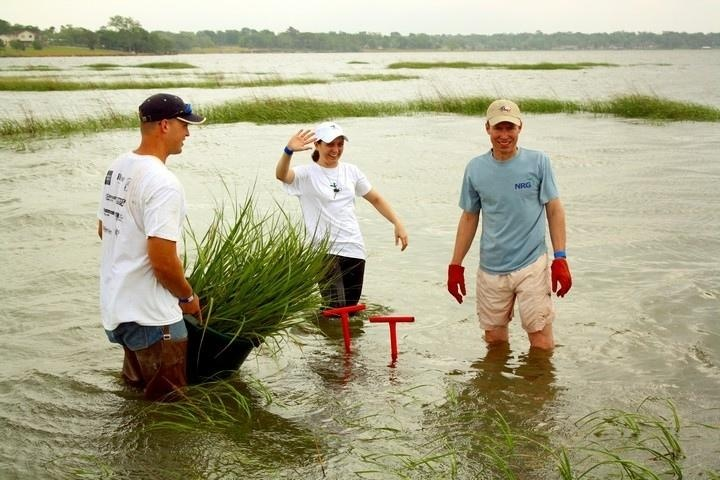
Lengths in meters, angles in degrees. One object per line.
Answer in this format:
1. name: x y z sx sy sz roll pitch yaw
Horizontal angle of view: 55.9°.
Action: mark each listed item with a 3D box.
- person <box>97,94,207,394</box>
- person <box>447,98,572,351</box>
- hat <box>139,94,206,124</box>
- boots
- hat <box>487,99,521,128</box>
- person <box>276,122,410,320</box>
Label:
1. person: -2.073 0.091 6.591 1.017 2.908 0.725 -9 17 -10
2. person: 1.708 0.135 7.727 1.310 2.368 0.578 -1 17 14
3. hat: -1.810 -1.239 6.572 0.537 0.186 0.320 1 11 -25
4. boots: -1.996 1.259 6.686 0.658 0.472 0.394 12 18 43
5. hat: 1.597 -1.417 7.562 0.300 0.196 0.385 0 5 3
6. person: -0.306 -0.228 8.564 1.011 2.463 1.368 11 23 44
